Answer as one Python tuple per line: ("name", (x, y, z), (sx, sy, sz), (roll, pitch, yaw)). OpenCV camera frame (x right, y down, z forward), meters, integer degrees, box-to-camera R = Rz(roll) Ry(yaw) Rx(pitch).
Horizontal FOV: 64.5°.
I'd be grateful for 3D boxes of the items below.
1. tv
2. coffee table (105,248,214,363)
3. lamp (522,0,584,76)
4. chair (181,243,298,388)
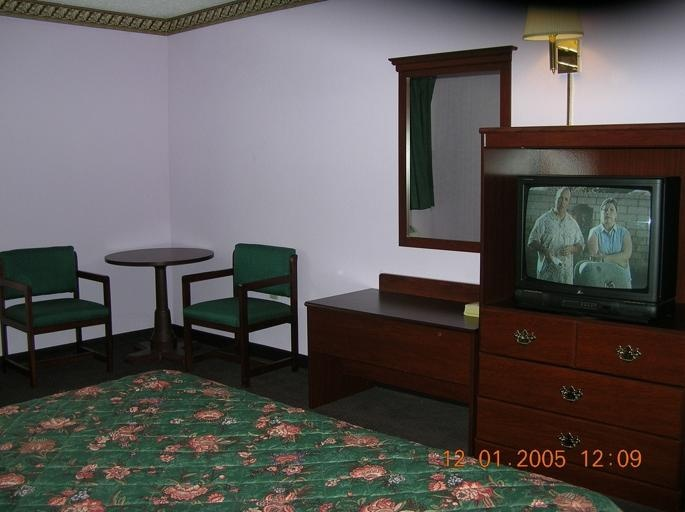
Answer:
("tv", (1.419, -0.030, 2.941), (0.895, 0.781, 0.473), (3, 5, 37))
("coffee table", (-1.880, 0.472, 5.468), (1.148, 0.951, 1.121), (5, 10, 30))
("lamp", (1.285, -1.278, 3.327), (0.399, 0.449, 0.399), (3, 7, 40))
("chair", (-0.892, 0.488, 4.760), (0.771, 1.112, 0.775), (8, 13, 44))
